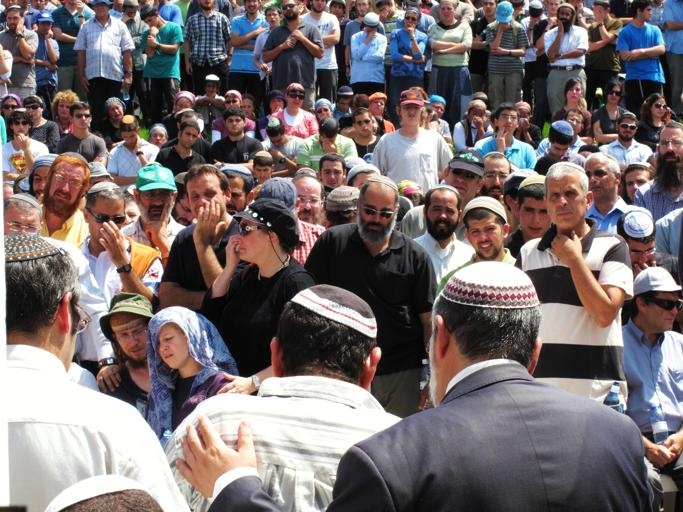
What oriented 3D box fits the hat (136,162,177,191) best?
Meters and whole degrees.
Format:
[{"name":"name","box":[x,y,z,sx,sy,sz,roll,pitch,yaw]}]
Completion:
[{"name":"hat","box":[-1.656,-0.695,9.205,0.340,0.230,0.417,1,8,-14]}]

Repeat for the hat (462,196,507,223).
[{"name":"hat","box":[1.192,-0.379,8.450,0.369,0.183,0.289,1,8,-12]}]

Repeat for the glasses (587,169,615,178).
[{"name":"glasses","box":[2.470,-0.780,9.755,0.147,0.047,0.149,-3,-14,39]}]

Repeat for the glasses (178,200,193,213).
[{"name":"glasses","box":[-1.526,-0.481,9.953,0.190,0.105,0.049,9,10,37]}]

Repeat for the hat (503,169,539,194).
[{"name":"hat","box":[1.715,-0.690,9.927,0.282,0.134,0.192,-28,27,-27]}]

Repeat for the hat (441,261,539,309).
[{"name":"hat","box":[0.755,0.167,5.256,0.274,0.117,0.310,8,8,31]}]

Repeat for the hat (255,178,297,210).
[{"name":"hat","box":[-0.525,-0.547,8.774,0.217,0.200,0.341,5,13,15]}]

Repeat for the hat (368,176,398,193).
[{"name":"hat","box":[0.329,-0.575,8.299,0.234,0.121,0.271,3,8,1]}]

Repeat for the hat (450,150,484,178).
[{"name":"hat","box":[1.287,-0.924,10.398,0.418,0.241,0.285,-2,9,-30]}]

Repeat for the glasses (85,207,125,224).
[{"name":"glasses","box":[-1.902,-0.306,8.323,0.303,0.130,0.226,1,8,-17]}]

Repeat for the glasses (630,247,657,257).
[{"name":"glasses","box":[2.695,-0.030,9.191,0.294,0.076,0.095,-2,9,-33]}]

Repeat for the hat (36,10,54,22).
[{"name":"hat","box":[-4.783,-3.885,16.667,0.255,0.156,0.393,4,3,-13]}]

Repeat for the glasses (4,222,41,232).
[{"name":"glasses","box":[-2.465,-0.217,7.994,0.277,0.073,0.198,-1,9,-25]}]

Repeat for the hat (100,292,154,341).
[{"name":"hat","box":[-1.606,0.440,7.907,0.314,0.215,0.397,-33,-8,10]}]

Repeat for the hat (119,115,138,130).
[{"name":"hat","box":[-2.762,-1.718,13.430,0.158,0.238,0.234,0,44,-2]}]

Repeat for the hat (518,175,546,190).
[{"name":"hat","box":[1.693,-0.646,9.175,0.224,0.125,0.391,4,8,9]}]

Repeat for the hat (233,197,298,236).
[{"name":"hat","box":[-0.504,-0.279,7.281,0.333,0.192,0.244,15,-2,-13]}]

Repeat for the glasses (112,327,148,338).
[{"name":"glasses","box":[-1.605,0.588,7.795,0.266,0.099,0.097,4,7,3]}]

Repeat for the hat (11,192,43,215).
[{"name":"hat","box":[-2.524,-0.405,8.234,0.257,0.158,0.318,0,8,-19]}]

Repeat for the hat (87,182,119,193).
[{"name":"hat","box":[-1.964,-0.557,8.506,0.251,0.089,0.290,1,8,-17]}]

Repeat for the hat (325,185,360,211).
[{"name":"hat","box":[0.006,-0.499,9.154,0.288,0.206,0.286,3,8,-2]}]

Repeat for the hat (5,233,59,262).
[{"name":"hat","box":[-1.618,-0.042,5.406,0.272,0.128,0.235,0,8,-19]}]

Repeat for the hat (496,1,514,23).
[{"name":"hat","box":[2.604,-3.950,16.467,0.212,0.383,0.186,5,-20,8]}]

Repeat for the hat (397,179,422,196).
[{"name":"hat","box":[0.714,-0.717,10.945,0.280,0.162,0.382,1,6,5]}]

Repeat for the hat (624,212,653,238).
[{"name":"hat","box":[2.651,-0.274,9.199,0.272,0.241,0.254,2,7,-3]}]

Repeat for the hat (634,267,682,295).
[{"name":"hat","box":[2.653,0.220,8.664,0.251,0.206,0.330,0,2,-39]}]
